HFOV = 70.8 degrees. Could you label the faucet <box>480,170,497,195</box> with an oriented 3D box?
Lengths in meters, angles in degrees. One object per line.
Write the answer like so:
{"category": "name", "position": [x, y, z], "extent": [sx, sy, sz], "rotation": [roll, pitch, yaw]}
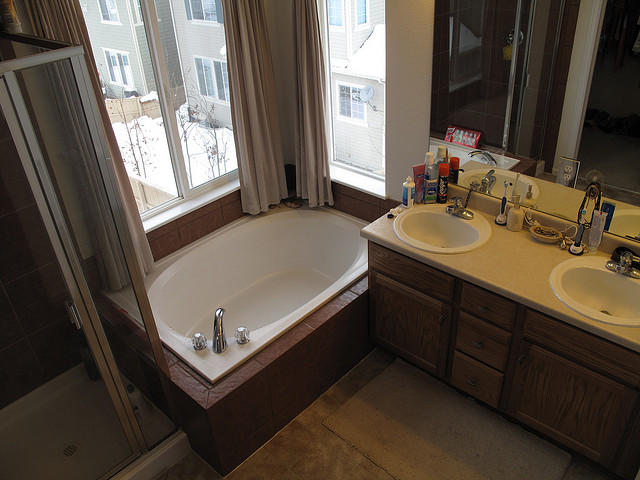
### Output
{"category": "faucet", "position": [1.039, -0.358, 2.770], "extent": [0.079, 0.134, 0.056], "rotation": [20, 36, 34]}

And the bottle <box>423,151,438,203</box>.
{"category": "bottle", "position": [0.710, -0.412, 2.886], "extent": [0.099, 0.305, 0.183], "rotation": [4, 30, 10]}

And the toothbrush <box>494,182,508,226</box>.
{"category": "toothbrush", "position": [1.098, -0.216, 2.704], "extent": [0.066, 0.210, 0.158], "rotation": [8, 31, 16]}

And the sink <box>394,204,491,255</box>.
{"category": "sink", "position": [0.729, -0.026, 2.717], "extent": [0.560, 0.195, 0.468], "rotation": [4, 32, 9]}

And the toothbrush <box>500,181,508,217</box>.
{"category": "toothbrush", "position": [1.110, -0.246, 2.704], "extent": [0.037, 0.165, 0.134], "rotation": [10, 32, 21]}

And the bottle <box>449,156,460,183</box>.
{"category": "bottle", "position": [0.851, -0.445, 2.864], "extent": [0.060, 0.146, 0.056], "rotation": [-1, 29, 1]}

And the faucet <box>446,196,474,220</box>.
{"category": "faucet", "position": [0.858, -0.196, 2.769], "extent": [0.147, 0.083, 0.167], "rotation": [-10, 32, -14]}

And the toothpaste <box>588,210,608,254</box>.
{"category": "toothpaste", "position": [1.455, -0.044, 2.384], "extent": [0.060, 0.218, 0.091], "rotation": [15, 33, 27]}

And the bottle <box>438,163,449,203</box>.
{"category": "bottle", "position": [0.783, -0.359, 2.845], "extent": [0.079, 0.246, 0.062], "rotation": [-1, 29, 1]}

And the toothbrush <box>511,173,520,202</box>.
{"category": "toothbrush", "position": [1.170, -0.328, 2.686], "extent": [0.028, 0.134, 0.041], "rotation": [6, 30, 14]}
